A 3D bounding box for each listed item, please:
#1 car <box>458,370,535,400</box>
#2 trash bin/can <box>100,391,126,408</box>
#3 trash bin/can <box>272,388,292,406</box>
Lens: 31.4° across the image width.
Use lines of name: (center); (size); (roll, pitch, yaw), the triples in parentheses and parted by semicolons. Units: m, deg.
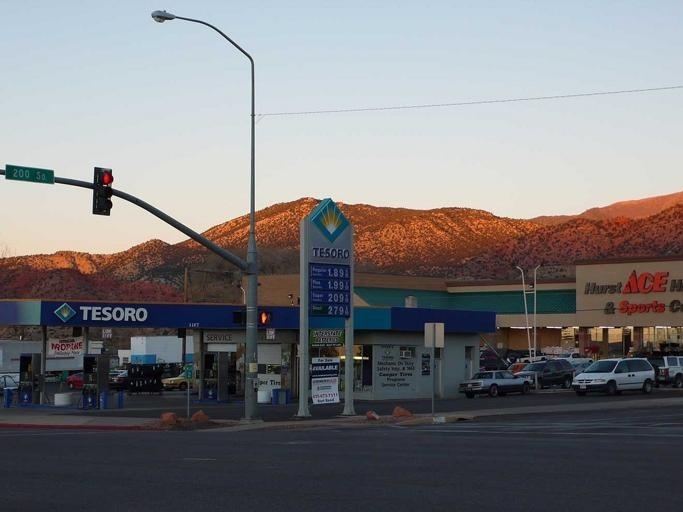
car: (8.240, 6.790, 64.807); (3.340, 0.954, 1.536); (-6, 5, -34)
trash bin/can: (-10.266, 6.497, 54.934); (0.919, 0.816, 1.394); (-3, -9, 13)
trash bin/can: (-2.909, 6.777, 58.417); (0.840, 0.768, 1.634); (0, -9, -5)
